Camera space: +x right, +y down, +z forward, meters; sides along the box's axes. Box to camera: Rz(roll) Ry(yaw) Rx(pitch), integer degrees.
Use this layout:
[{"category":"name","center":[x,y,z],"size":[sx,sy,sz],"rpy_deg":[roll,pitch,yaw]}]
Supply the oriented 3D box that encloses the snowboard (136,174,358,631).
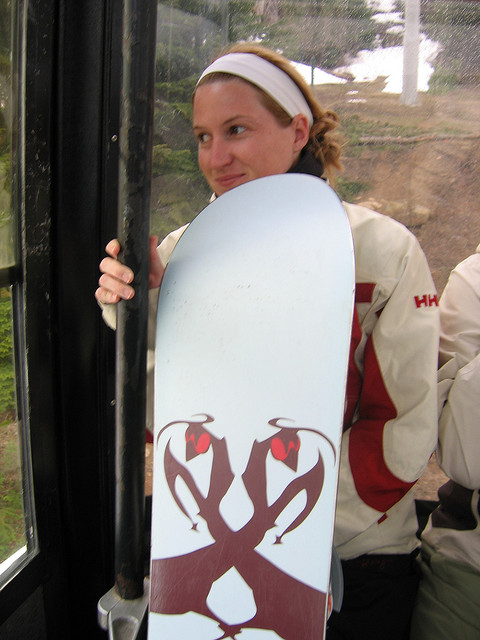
[{"category":"snowboard","center":[0.009,0.153,1.209],"size":[0.400,0.853,0.334],"rpy_deg":[4,13,11]}]
